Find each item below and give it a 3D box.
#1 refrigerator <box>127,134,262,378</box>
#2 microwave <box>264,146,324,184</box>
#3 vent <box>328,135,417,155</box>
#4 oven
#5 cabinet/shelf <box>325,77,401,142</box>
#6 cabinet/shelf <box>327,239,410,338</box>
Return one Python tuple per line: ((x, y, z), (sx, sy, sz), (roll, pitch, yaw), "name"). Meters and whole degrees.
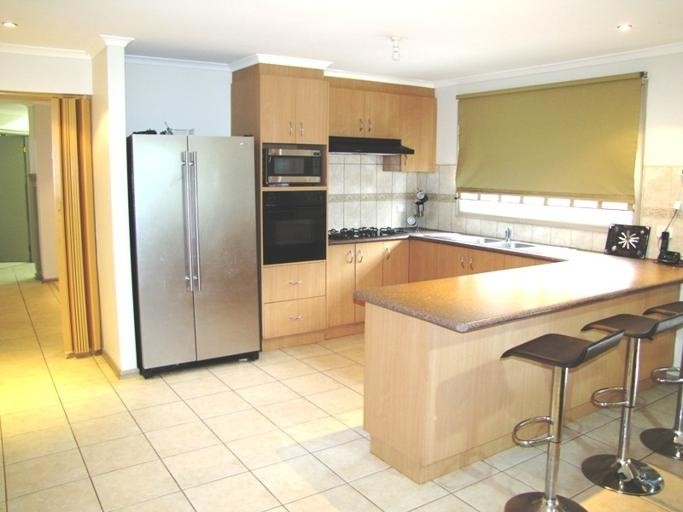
((-1.341, -0.011, 4.881), (1.116, 2.182, 0.455), (-4, 15, -13), "refrigerator")
((-0.501, -0.929, 5.398), (0.677, 0.412, 0.412), (-4, 10, -31), "microwave")
((0.331, -1.271, 6.026), (1.201, 0.232, 0.342), (-13, 19, -42), "vent")
((-0.519, -0.312, 5.662), (0.781, 0.687, 0.503), (-1, -2, -10), "oven")
((0.206, -1.695, 5.980), (0.882, 0.487, 0.303), (-5, 10, -28), "cabinet/shelf")
((0.197, 0.318, 5.150), (1.099, 0.906, 0.375), (-4, 13, -23), "cabinet/shelf")
